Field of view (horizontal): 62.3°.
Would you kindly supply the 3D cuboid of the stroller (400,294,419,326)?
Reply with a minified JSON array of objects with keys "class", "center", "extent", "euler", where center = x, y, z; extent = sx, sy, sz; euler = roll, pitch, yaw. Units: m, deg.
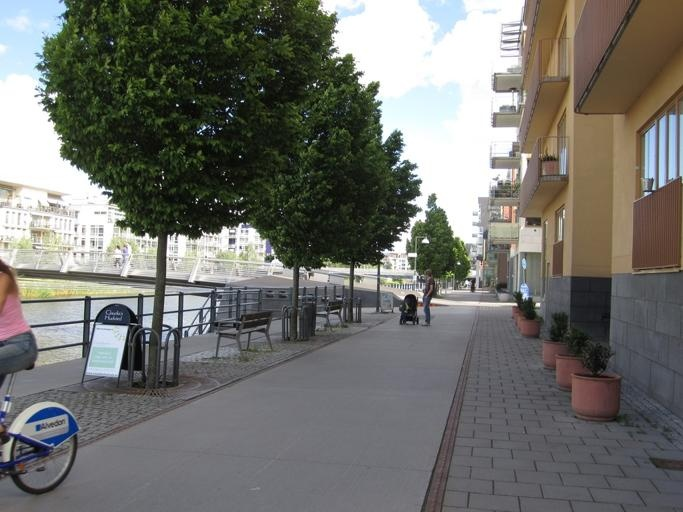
[{"class":"stroller","center":[2.601,2.151,22.049],"extent":[0.867,1.621,1.016],"euler":[0,-14,4]}]

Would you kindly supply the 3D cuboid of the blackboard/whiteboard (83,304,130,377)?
[{"class":"blackboard/whiteboard","center":[-3.676,1.340,8.969],"extent":[0.774,1.181,0.388],"euler":[1,1,11]}]

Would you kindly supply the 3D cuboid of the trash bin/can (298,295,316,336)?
[{"class":"trash bin/can","center":[-1.066,1.826,17.108],"extent":[0.660,1.204,0.650],"euler":[1,8,33]}]

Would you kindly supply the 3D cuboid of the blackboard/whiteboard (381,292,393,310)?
[{"class":"blackboard/whiteboard","center":[2.335,2.412,29.972],"extent":[0.612,0.783,0.918],"euler":[1,0,2]}]
